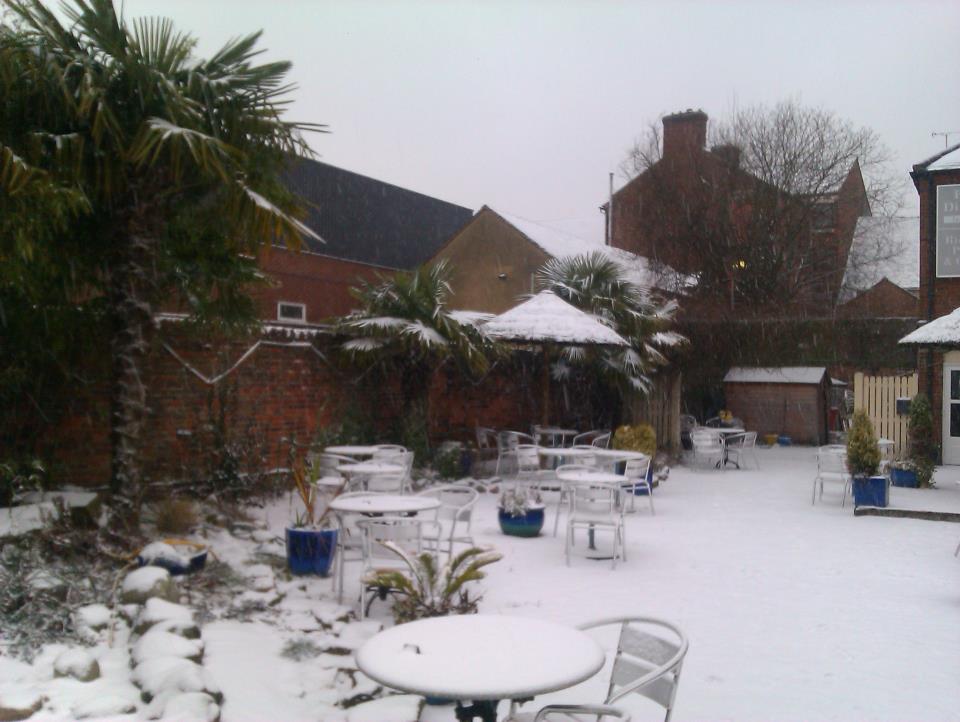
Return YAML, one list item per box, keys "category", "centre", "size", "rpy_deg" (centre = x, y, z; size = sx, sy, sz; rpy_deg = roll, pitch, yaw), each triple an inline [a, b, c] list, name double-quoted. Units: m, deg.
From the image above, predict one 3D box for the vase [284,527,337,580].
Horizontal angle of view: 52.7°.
- category: "vase"
  centre: [-1.722, 1.957, 9.841]
  size: [0.410, 0.426, 0.469]
  rpy_deg: [2, -8, -9]

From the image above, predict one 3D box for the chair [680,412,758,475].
- category: "chair"
  centre: [4.751, 1.704, 19.430]
  size: [1.065, 1.031, 1.276]
  rpy_deg: [2, -7, -37]
